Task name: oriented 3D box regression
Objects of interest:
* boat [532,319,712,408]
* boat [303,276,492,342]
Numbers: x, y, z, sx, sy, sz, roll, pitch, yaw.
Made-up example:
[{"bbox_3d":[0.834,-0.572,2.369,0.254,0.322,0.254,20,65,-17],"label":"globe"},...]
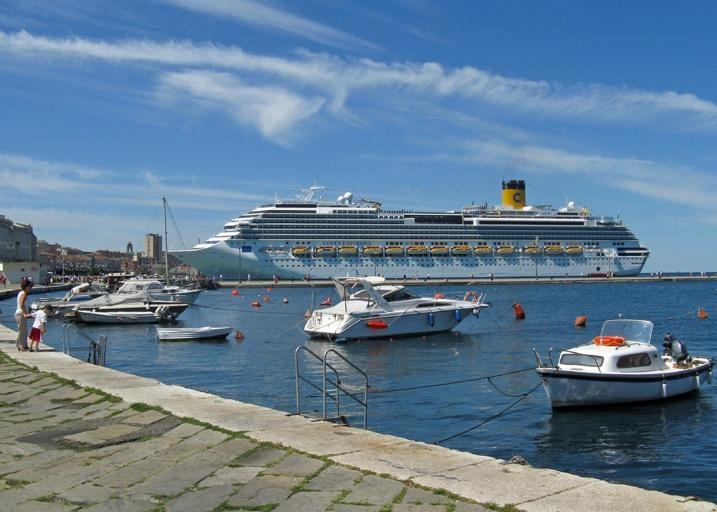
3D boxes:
[{"bbox_3d":[7.870,3.221,24.916,5.434,2.691,1.750,8,-6,-35],"label":"boat"},{"bbox_3d":[2.210,2.488,39.936,8.943,1.770,3.044,-2,2,-28],"label":"boat"}]
